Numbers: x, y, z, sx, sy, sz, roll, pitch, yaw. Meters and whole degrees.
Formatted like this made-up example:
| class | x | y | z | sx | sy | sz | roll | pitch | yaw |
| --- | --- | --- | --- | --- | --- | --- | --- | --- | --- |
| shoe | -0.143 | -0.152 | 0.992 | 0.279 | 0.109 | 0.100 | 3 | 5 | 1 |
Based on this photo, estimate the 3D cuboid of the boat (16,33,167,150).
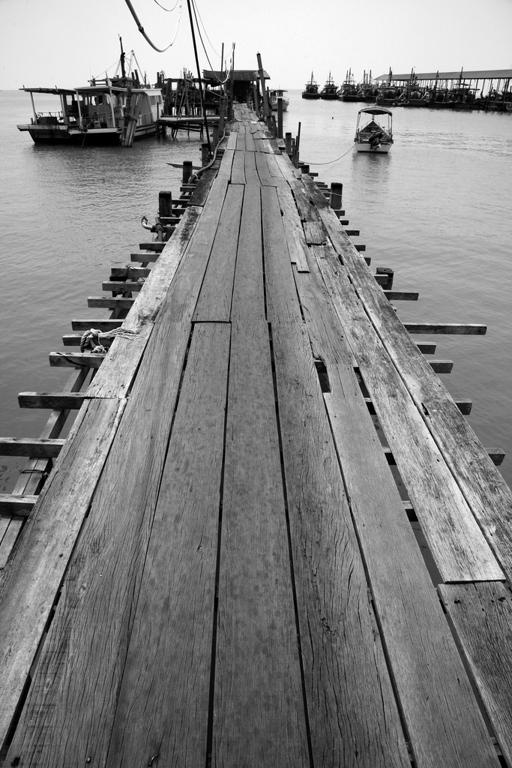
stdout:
| class | x | y | z | sx | sy | sz | roll | pitch | yaw |
| --- | --- | --- | --- | --- | --- | --- | --- | --- | --- |
| boat | -11.513 | -19.591 | 36.306 | 9.964 | 4.645 | 7.060 | -16 | 36 | -28 |
